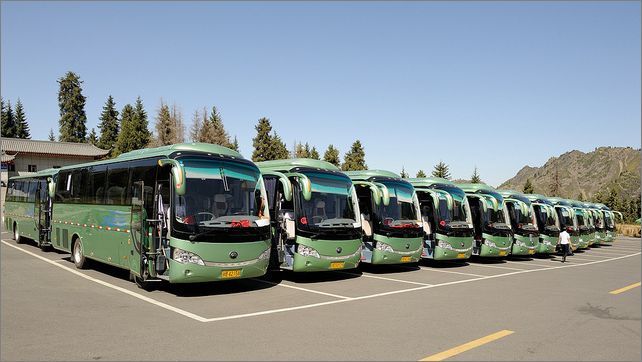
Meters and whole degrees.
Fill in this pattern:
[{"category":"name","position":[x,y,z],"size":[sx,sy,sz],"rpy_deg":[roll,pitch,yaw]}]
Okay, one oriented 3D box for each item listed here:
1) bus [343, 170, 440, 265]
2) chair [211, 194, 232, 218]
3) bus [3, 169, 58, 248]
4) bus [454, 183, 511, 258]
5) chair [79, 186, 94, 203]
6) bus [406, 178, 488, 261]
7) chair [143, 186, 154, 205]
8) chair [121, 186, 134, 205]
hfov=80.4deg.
[{"category":"bus","position":[2.705,2.002,21.979],"size":[3.802,4.580,6.637],"rpy_deg":[3,-6,-31]},{"category":"chair","position":[-3.690,0.976,14.853],"size":[0.709,0.770,0.999],"rpy_deg":[5,5,-29]},{"category":"bus","position":[-18.497,1.938,24.143],"size":[9.831,4.883,0.533],"rpy_deg":[3,3,40]},{"category":"bus","position":[9.924,2.736,24.768],"size":[3.388,3.896,4.821],"rpy_deg":[3,-7,-24]},{"category":"chair","position":[-10.961,0.639,17.825],"size":[0.455,0.440,0.799],"rpy_deg":[-2,-7,-33]},{"category":"bus","position":[6.314,2.783,25.244],"size":[3.098,4.604,9.214],"rpy_deg":[3,-11,-17]},{"category":"chair","position":[-6.559,0.568,14.503],"size":[0.387,0.725,0.311],"rpy_deg":[1,3,-20]},{"category":"chair","position":[-7.822,0.651,15.356],"size":[0.610,0.787,0.302],"rpy_deg":[5,-9,37]}]
